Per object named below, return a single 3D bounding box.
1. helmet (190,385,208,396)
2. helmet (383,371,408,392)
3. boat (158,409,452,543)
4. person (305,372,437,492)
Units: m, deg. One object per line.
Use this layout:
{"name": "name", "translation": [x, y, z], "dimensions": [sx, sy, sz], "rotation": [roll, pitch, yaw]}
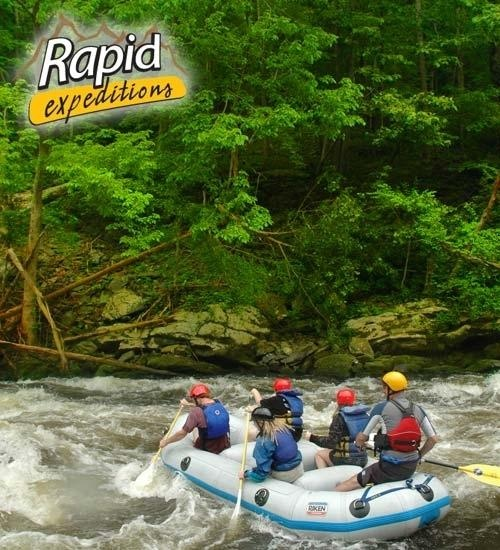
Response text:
{"name": "helmet", "translation": [-0.629, 1.425, 7.170], "dimensions": [0.201, 0.169, 0.227], "rotation": [0, 8, -5]}
{"name": "helmet", "translation": [1.525, 1.113, 6.045], "dimensions": [0.211, 0.166, 0.278], "rotation": [-11, 2, -42]}
{"name": "boat", "translation": [0.422, 2.209, 6.483], "dimensions": [1.263, 0.396, 2.373], "rotation": [2, -1, -41]}
{"name": "person", "translation": [1.469, 1.702, 6.061], "dimensions": [0.922, 1.407, 0.314], "rotation": [4, 11, 17]}
